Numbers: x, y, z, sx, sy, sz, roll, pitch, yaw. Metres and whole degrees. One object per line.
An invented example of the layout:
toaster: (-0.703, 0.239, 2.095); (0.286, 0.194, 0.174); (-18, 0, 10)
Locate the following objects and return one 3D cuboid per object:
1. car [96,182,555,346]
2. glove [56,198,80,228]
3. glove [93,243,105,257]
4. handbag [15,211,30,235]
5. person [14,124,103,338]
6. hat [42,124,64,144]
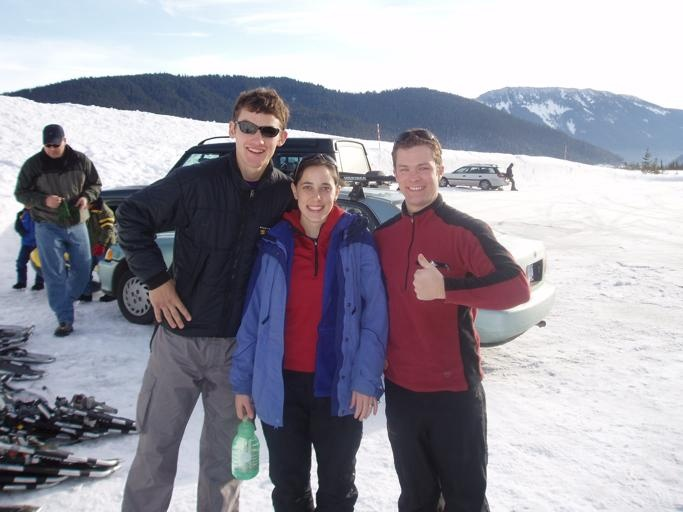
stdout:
car: (-0.325, 0.299, 6.749); (5.273, 1.964, 2.303); (8, 8, 18)
glove: (-3.290, -0.521, 6.515); (0.092, 0.297, 0.209); (-20, -13, 41)
glove: (-3.278, -0.084, 7.315); (0.148, 0.155, 0.050); (23, -18, -12)
handbag: (-4.843, -0.505, 8.205); (0.257, 0.354, 0.119); (2, 3, -3)
person: (-3.440, -0.358, 6.762); (0.833, 2.552, 1.024); (-2, 2, 16)
hat: (-3.418, -1.442, 6.403); (0.206, 0.247, 0.271); (-3, 11, -8)
